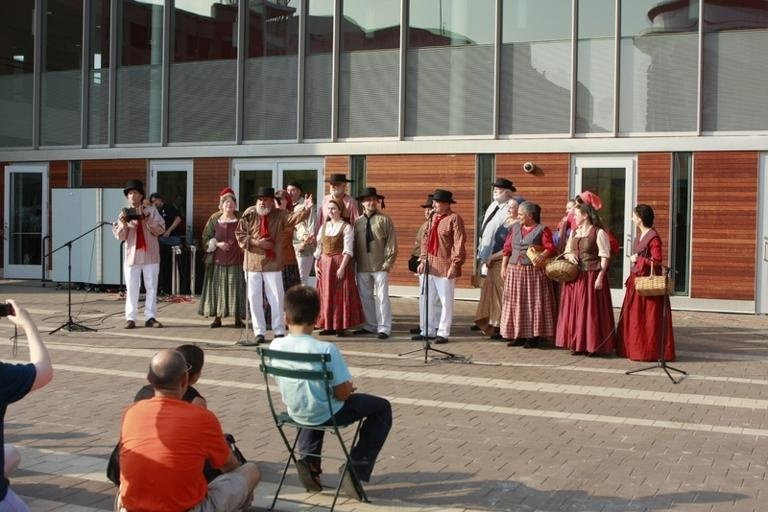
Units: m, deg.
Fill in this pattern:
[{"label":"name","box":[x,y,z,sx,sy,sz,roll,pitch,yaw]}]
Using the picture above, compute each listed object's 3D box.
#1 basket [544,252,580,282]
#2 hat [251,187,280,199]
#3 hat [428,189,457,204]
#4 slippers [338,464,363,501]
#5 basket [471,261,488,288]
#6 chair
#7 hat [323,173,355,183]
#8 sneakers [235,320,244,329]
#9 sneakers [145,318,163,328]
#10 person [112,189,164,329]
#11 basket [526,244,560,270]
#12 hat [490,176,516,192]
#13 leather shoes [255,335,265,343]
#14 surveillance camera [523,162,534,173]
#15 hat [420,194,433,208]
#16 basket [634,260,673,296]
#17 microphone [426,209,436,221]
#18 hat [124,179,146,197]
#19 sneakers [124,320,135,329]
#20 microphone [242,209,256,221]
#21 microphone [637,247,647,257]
[{"label":"basket","box":[2.840,0.158,15.973,0.474,0.396,0.356,-2,43,37]},{"label":"hat","box":[-2.146,-1.165,18.120,0.619,0.200,0.603,1,-1,-9]},{"label":"hat","box":[0.929,-1.040,16.965,0.348,0.140,0.383,6,5,-21]},{"label":"slippers","box":[-0.402,2.598,11.367,0.311,0.393,0.122,-31,-3,31]},{"label":"basket","box":[1.601,0.356,17.736,0.179,0.454,0.350,15,11,17]},{"label":"chair","box":[-0.983,1.928,11.674,1.092,1.836,1.519,-4,5,-34]},{"label":"hat","box":[-0.867,-1.551,19.582,0.516,0.131,0.498,0,3,-19]},{"label":"sneakers","box":[-2.614,1.218,17.967,0.139,0.138,0.145,0,-1,31]},{"label":"sneakers","box":[-4.130,1.178,17.810,0.267,0.103,0.148,-4,0,35]},{"label":"person","box":[-4.395,-0.053,17.774,0.897,2.601,0.670,-4,5,-37]},{"label":"basket","box":[2.583,-0.011,16.287,0.411,0.165,0.313,29,19,-13]},{"label":"hat","box":[2.169,-1.273,17.699,0.397,0.129,0.327,17,-3,-13]},{"label":"leather shoes","box":[-2.085,1.373,16.661,0.106,0.128,0.309,0,-5,-5]},{"label":"surveillance camera","box":[3.014,-1.866,20.770,0.231,0.224,0.149,3,4,21]},{"label":"hat","box":[0.773,-0.995,17.781,0.278,0.148,0.376,0,4,7]},{"label":"basket","box":[4.131,0.337,15.384,0.580,0.541,0.262,1,2,43]},{"label":"microphone","box":[0.792,-0.692,16.611,0.084,0.180,0.138,8,13,-30]},{"label":"hat","box":[-4.502,-1.257,17.934,0.469,0.261,0.546,1,5,10]},{"label":"sneakers","box":[-4.516,1.192,17.675,0.191,0.135,0.234,-2,4,-13]},{"label":"microphone","box":[-2.278,-0.717,16.624,0.246,0.217,0.234,-2,4,-22]},{"label":"microphone","box":[4.042,-0.072,15.541,0.127,0.132,0.139,-7,-1,-36]}]
